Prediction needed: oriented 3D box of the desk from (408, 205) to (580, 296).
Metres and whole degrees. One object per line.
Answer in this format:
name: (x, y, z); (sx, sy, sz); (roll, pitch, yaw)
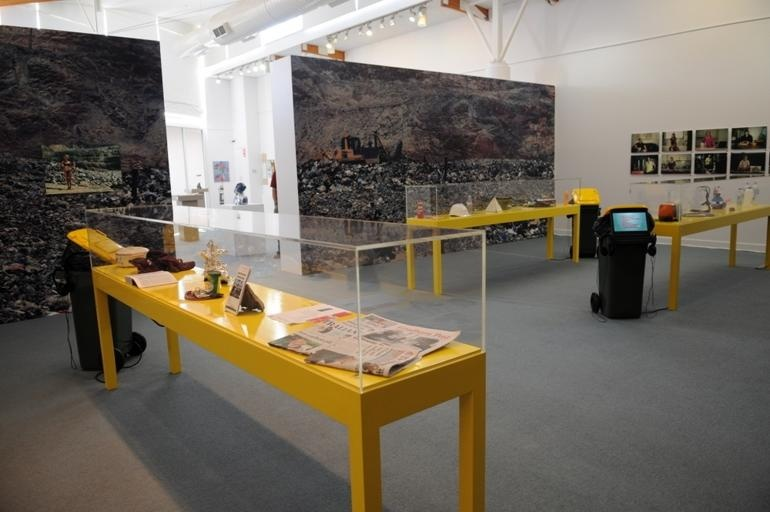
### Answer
desk: (1.977, -0.253, 8.133); (2.337, 0.692, 0.531); (-6, 1, -5)
